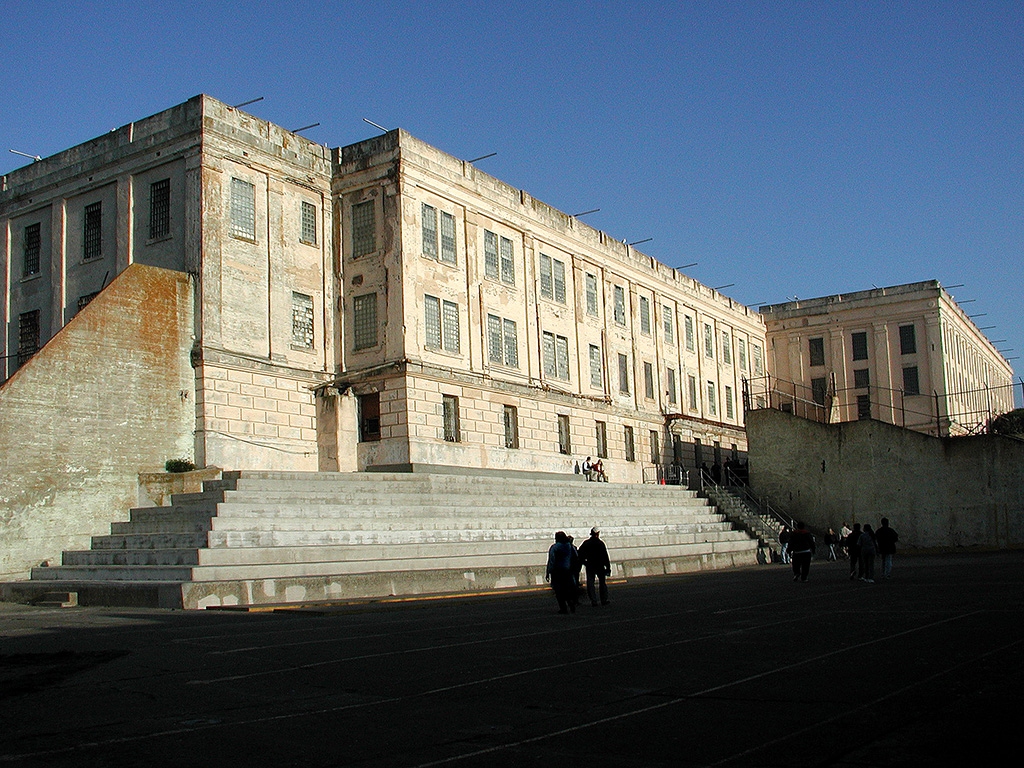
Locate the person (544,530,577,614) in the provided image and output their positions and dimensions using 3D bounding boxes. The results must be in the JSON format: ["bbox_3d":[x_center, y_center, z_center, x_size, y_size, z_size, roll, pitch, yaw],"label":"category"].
[{"bbox_3d":[1.059,4.022,20.470,0.642,1.687,0.968,-2,-11,4],"label":"person"}]

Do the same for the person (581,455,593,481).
[{"bbox_3d":[3.669,4.141,47.284,0.571,1.233,1.393,-2,-11,4],"label":"person"}]
